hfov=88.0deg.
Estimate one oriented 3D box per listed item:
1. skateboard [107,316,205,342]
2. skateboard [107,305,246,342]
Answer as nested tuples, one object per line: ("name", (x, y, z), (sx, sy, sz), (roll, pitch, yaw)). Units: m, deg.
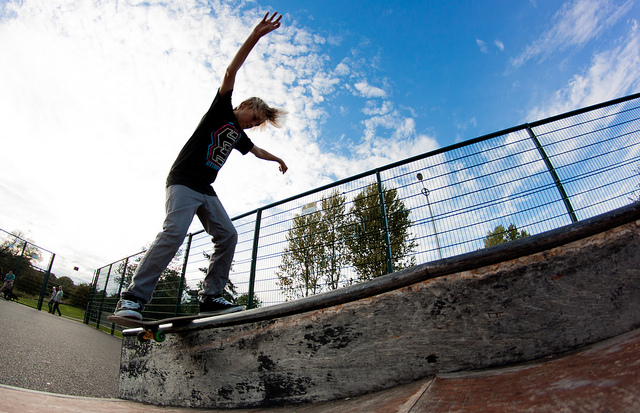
("skateboard", (-1.433, 1.167, 3.186), (0.990, 0.279, 0.303), (11, -24, -20))
("skateboard", (-1.162, 1.118, 3.100), (1.491, 0.246, 0.364), (-3, -32, 0))
